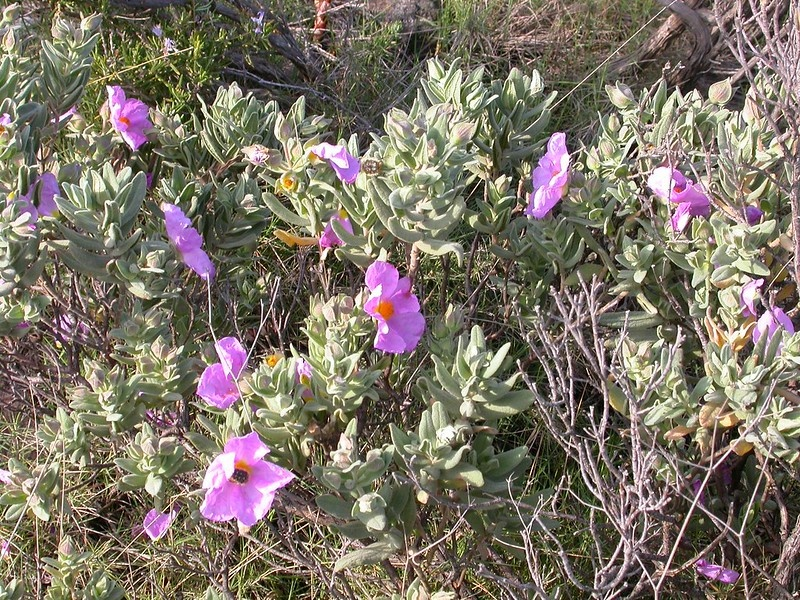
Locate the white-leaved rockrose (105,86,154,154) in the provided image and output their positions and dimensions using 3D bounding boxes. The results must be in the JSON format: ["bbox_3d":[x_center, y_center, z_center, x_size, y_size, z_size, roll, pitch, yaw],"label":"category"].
[{"bbox_3d":[-1.082,-0.712,2.923,0.100,0.229,0.248,-3,66,26],"label":"white-leaved rockrose"}]

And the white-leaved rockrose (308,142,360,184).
[{"bbox_3d":[-0.233,-0.450,2.533,0.117,0.160,0.069,7,74,1],"label":"white-leaved rockrose"}]

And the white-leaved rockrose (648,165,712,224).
[{"bbox_3d":[1.065,-0.406,2.786,0.187,0.231,0.105,24,23,0],"label":"white-leaved rockrose"}]

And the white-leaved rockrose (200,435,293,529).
[{"bbox_3d":[-0.476,0.557,2.174,0.240,0.135,0.303,-11,94,-2],"label":"white-leaved rockrose"}]

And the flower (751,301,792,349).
[{"bbox_3d":[1.255,0.102,2.461,0.037,0.156,0.139,17,48,-5],"label":"flower"}]
